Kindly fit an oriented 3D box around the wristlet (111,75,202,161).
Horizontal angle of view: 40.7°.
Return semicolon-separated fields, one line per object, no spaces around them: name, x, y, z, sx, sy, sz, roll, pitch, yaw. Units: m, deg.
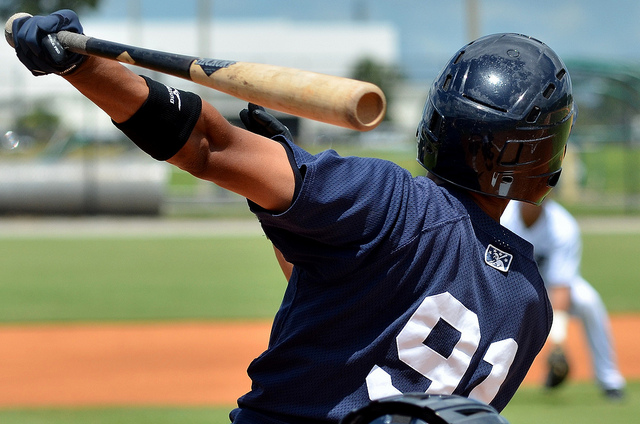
wristlet;-0.816;-0.464;4.411;0.408;0.364;0.132;2;13;-9

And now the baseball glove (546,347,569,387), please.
baseball glove;2.100;1.359;7.645;0.177;0.314;0.125;23;-1;-30

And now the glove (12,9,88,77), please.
glove;-1.448;-0.909;4.582;0.486;0.375;0.357;-13;24;-30

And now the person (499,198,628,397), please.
person;2.178;0.633;8.197;1.328;1.924;1.189;-2;0;-11
